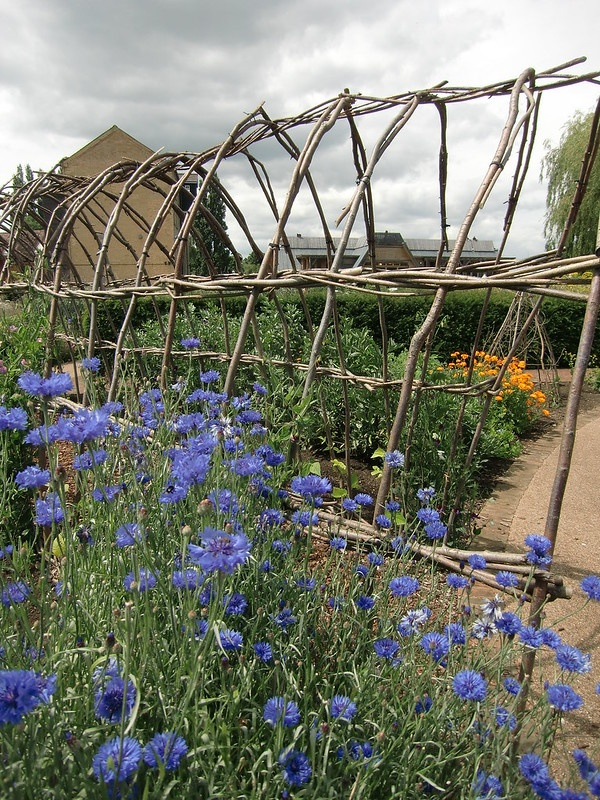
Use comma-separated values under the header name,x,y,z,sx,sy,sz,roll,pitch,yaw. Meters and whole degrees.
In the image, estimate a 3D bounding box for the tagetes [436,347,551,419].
name,x,y,z,sx,sy,sz,roll,pitch,yaw
tagetes,1.625,-0.172,6.239,1.019,0.542,0.978,9,12,40
